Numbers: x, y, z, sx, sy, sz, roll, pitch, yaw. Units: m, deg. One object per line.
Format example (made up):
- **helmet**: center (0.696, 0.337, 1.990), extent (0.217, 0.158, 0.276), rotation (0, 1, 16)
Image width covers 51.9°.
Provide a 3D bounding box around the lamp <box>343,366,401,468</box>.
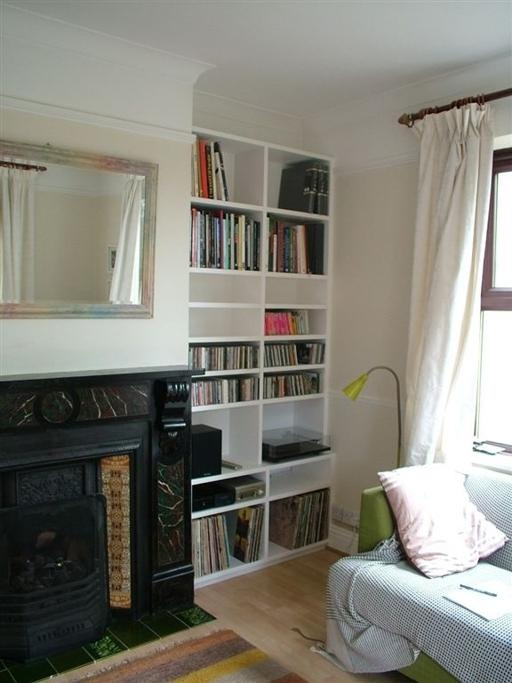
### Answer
- **lamp**: center (0.664, 0.418, 2.921), extent (0.289, 0.575, 0.661), rotation (2, -3, 16)
